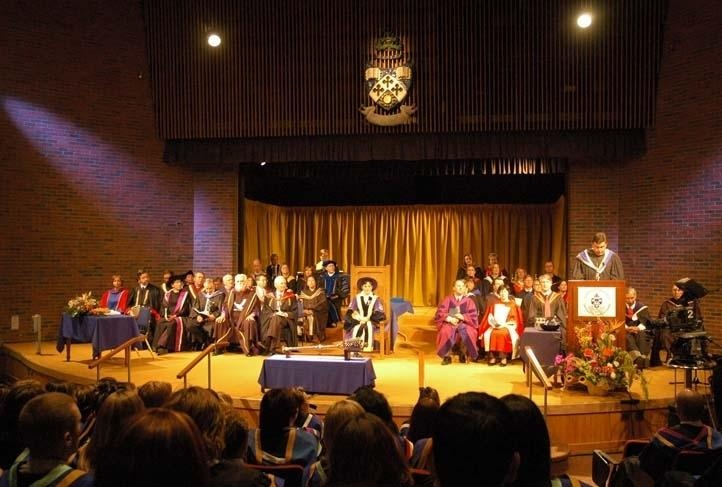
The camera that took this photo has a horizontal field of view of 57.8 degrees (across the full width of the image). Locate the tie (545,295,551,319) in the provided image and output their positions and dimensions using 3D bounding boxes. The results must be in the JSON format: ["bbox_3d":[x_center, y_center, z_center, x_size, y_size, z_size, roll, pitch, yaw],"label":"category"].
[{"bbox_3d":[3.767,1.298,13.184,0.150,0.374,0.063,0,-8,18],"label":"tie"}]

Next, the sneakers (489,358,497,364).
[{"bbox_3d":[2.663,2.361,13.245,0.139,0.171,0.446,1,-10,11],"label":"sneakers"}]

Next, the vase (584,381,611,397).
[{"bbox_3d":[3.898,2.372,10.737,0.251,0.219,0.309,4,-9,-26],"label":"vase"}]

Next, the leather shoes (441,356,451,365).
[{"bbox_3d":[1.755,2.369,13.279,0.202,0.175,0.413,1,-10,7],"label":"leather shoes"}]

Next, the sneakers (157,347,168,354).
[{"bbox_3d":[-4.224,2.302,14.002,0.113,0.123,0.267,-3,-11,28],"label":"sneakers"}]

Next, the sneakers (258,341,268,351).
[{"bbox_3d":[-2.112,2.200,13.940,0.194,0.236,0.424,5,-10,-18],"label":"sneakers"}]

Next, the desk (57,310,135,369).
[{"bbox_3d":[-5.159,1.851,12.848,1.722,0.912,0.849,-5,-13,38],"label":"desk"}]

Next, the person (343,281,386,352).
[{"bbox_3d":[0.110,1.434,13.463,0.801,1.525,0.691,6,-9,-21],"label":"person"}]

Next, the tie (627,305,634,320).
[{"bbox_3d":[5.371,1.374,13.059,0.179,0.247,0.072,1,-10,-6],"label":"tie"}]

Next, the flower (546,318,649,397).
[{"bbox_3d":[3.993,1.906,11.149,1.295,1.316,1.075,-4,3,-19],"label":"flower"}]

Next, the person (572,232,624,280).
[{"bbox_3d":[4.246,0.443,11.739,0.921,1.180,0.497,5,15,25],"label":"person"}]

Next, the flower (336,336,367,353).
[{"bbox_3d":[-0.173,1.698,11.018,0.375,0.223,0.660,4,-10,-8],"label":"flower"}]
